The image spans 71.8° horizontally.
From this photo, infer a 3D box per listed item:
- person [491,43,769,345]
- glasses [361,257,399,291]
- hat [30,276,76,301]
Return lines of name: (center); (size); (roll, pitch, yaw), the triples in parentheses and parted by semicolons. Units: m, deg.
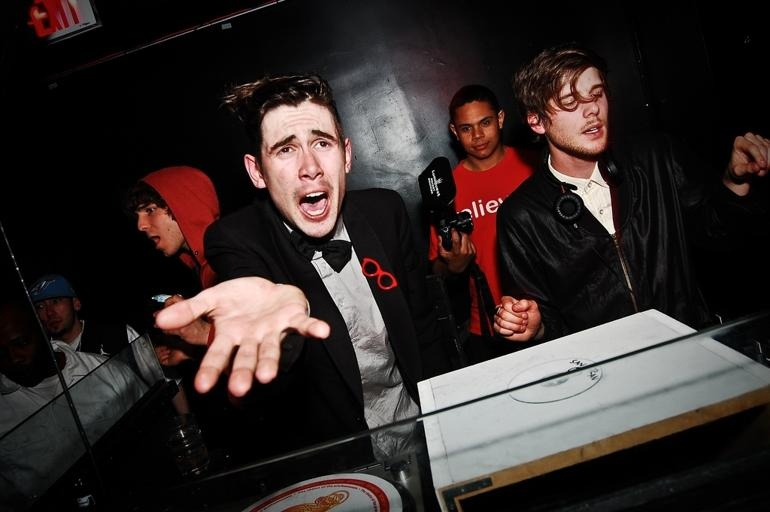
person: (1.703, -0.418, 3.701); (1.485, 1.885, 0.986); (-29, 20, 2)
glasses: (-0.039, 0.108, 3.354); (0.206, 0.210, 0.103); (1, 23, 39)
hat: (-2.816, 0.271, 4.523); (0.286, 0.148, 0.199); (-5, -1, 8)
